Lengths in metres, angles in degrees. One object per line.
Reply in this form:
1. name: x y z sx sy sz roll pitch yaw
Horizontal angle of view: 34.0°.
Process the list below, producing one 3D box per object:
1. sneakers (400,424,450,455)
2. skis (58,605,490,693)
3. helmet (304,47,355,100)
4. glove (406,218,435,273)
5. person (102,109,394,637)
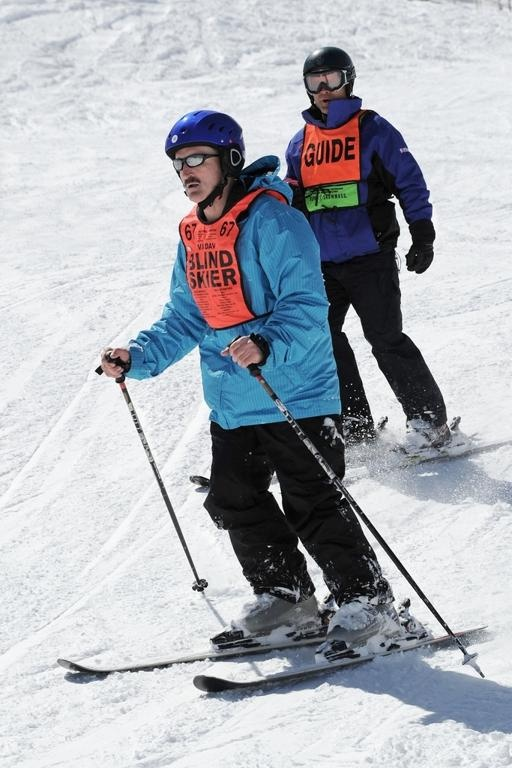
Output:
1. sneakers: 0.898 0.312 4.667 0.260 0.220 0.145 -4 -10 -14
2. skis: 0.101 0.977 3.058 1.511 0.103 0.161 -8 16 8
3. helmet: 0.375 -1.620 4.391 0.251 0.239 0.279 -10 4 19
4. glove: 0.872 -0.724 4.397 0.119 0.236 0.209 1 -5 -31
5. person: 0.013 -0.018 3.030 0.673 1.936 0.686 -8 18 30
